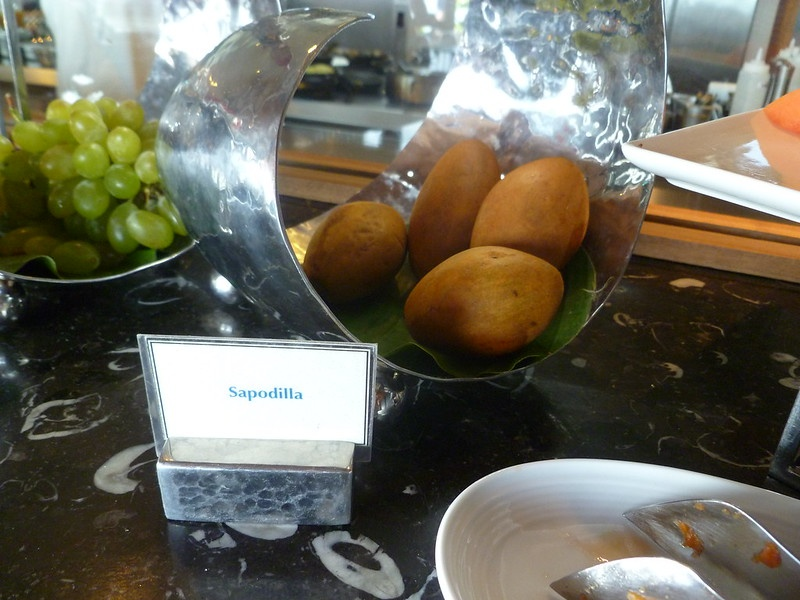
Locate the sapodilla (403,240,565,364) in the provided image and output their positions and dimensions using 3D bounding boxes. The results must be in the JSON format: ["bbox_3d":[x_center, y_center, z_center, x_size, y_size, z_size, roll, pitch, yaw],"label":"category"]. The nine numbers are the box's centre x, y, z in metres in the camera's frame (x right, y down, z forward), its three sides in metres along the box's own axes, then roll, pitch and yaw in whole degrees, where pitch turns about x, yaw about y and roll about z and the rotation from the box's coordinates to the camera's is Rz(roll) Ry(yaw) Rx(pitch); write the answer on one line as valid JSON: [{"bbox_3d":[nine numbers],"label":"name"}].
[{"bbox_3d":[0.064,-0.001,0.517,0.125,0.078,0.089,-12,28,-13],"label":"sapodilla"}]

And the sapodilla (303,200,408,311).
[{"bbox_3d":[-0.035,-0.035,0.537,0.050,0.069,0.093,28,37,33],"label":"sapodilla"}]
